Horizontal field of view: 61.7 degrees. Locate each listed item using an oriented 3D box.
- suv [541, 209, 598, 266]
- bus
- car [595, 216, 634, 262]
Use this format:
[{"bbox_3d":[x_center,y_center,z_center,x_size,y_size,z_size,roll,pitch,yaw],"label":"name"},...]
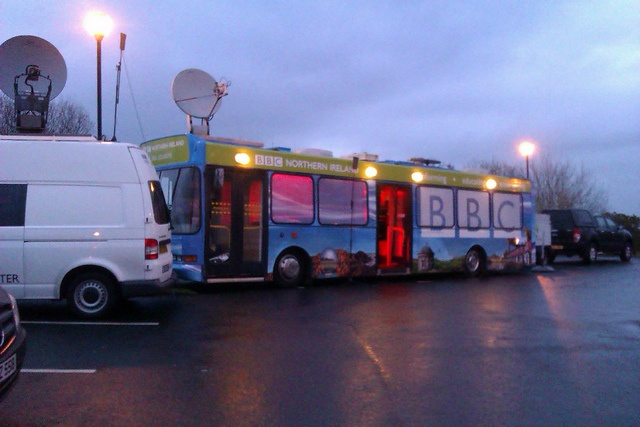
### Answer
[{"bbox_3d":[11.783,1.003,25.432,3.319,1.916,1.826,-4,1,-44],"label":"suv"},{"bbox_3d":[1.339,0.236,17.652,12.704,3.959,3.120,3,-2,-31],"label":"bus"},{"bbox_3d":[14.729,1.291,27.652,3.300,1.663,1.619,-3,2,-33],"label":"car"}]
